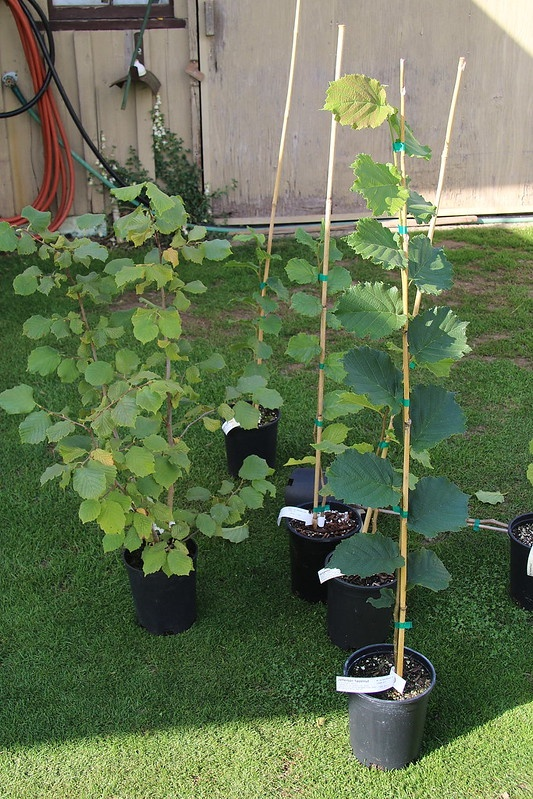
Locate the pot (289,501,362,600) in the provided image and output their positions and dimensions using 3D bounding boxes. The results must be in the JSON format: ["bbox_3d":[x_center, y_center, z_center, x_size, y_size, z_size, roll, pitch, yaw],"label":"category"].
[{"bbox_3d":[0.155,0.582,2.429,0.330,0.343,0.337,1,11,0],"label":"pot"}]

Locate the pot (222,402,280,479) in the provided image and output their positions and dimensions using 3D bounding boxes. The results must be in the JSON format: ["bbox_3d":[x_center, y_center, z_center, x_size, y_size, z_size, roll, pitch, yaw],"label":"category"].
[{"bbox_3d":[-0.065,0.196,3.089,0.283,0.301,0.302,0,11,0],"label":"pot"}]

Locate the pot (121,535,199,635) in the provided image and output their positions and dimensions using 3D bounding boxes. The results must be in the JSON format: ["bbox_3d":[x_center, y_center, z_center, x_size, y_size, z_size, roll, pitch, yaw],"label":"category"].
[{"bbox_3d":[-0.300,0.626,2.263,0.300,0.322,0.294,-1,20,0],"label":"pot"}]

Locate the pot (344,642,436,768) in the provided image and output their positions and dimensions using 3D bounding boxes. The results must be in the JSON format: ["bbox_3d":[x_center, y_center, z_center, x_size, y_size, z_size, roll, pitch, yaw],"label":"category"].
[{"bbox_3d":[0.324,0.831,1.762,0.236,0.232,0.233,1,15,0],"label":"pot"}]
